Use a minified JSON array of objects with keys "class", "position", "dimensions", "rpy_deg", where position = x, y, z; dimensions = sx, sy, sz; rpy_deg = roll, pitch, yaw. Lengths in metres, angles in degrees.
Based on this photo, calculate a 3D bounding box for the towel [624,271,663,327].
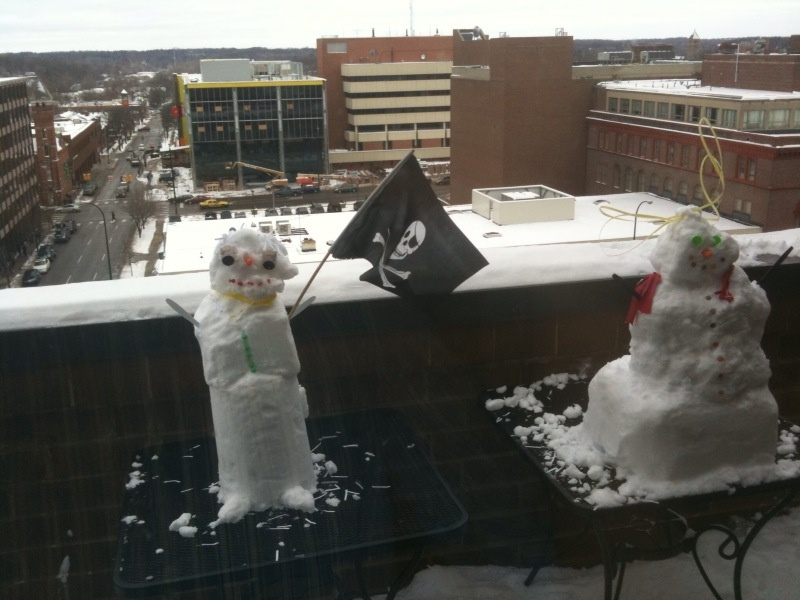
[{"class":"towel","position":[0.921,-0.007,2.741],"dimensions":[0.064,0.169,0.127],"rpy_deg":[15,27,-38]}]

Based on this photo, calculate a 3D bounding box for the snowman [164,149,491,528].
[{"class":"snowman","position":[-0.299,0.090,2.877],"dimensions":[1.185,1.212,0.468],"rpy_deg":[-18,20,-41]}]

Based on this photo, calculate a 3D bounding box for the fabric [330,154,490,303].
[{"class":"fabric","position":[0.021,-0.315,3.131],"dimensions":[0.756,0.635,0.103],"rpy_deg":[0,-8,30]}]

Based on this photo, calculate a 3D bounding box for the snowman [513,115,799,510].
[{"class":"snowman","position":[1.042,0.283,2.817],"dimensions":[1.140,0.838,0.694],"rpy_deg":[-3,15,6]}]
